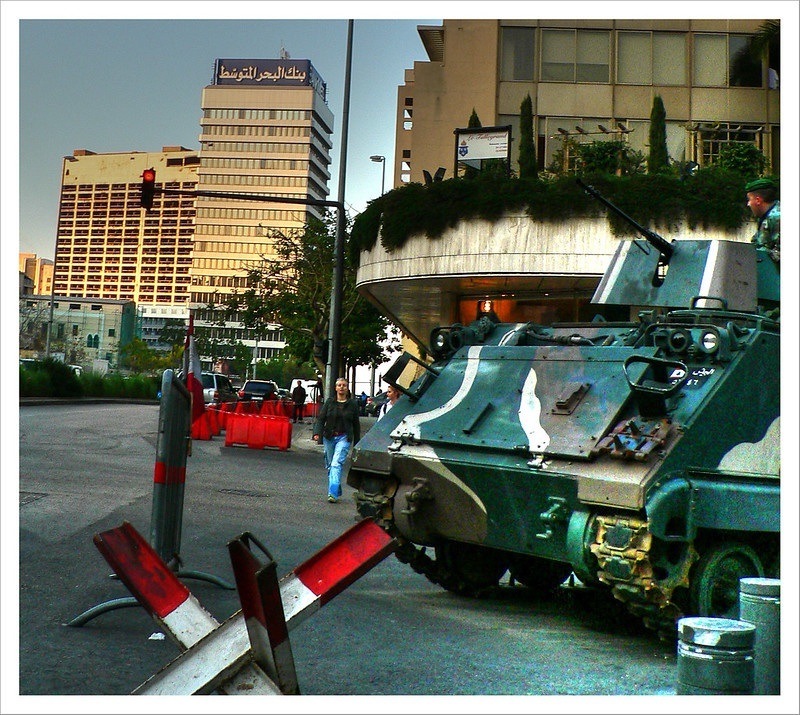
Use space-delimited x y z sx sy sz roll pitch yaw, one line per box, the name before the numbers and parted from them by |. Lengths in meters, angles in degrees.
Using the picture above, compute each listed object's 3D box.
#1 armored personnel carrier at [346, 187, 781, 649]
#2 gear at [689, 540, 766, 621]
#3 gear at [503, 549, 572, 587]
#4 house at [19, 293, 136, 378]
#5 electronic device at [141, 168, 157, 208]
armored personnel carrier | 2.629 0.608 9.711 3.828 3.539 5.829 1 1 42
gear | 2.552 1.719 7.187 0.207 0.598 0.912 4 0 45
gear | 1.416 2.177 9.394 0.468 0.309 0.430 15 -16 -20
house | -21.095 -1.377 60.730 6.678 6.666 3.961 1 2 -2
electronic device | -5.892 -3.960 21.533 0.303 0.927 1.380 3 1 -16
